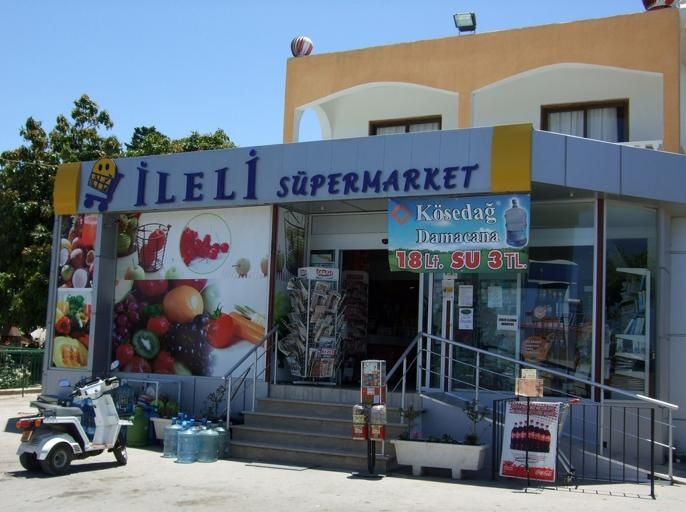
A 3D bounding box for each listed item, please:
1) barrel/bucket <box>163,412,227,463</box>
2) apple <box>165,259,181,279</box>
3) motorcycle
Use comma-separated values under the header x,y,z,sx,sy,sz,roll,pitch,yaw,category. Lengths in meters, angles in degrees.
x,y,z,sx,sy,sz,roll,pitch,yaw,category
-2.813,3.430,13.049,0.825,0.912,0.903,-2,-2,0,barrel/bucket
-3.899,0.281,16.063,0.355,0.440,0.381,0,11,-5,apple
-4.733,2.811,11.994,1.082,1.568,2.153,-4,-5,33,motorcycle
